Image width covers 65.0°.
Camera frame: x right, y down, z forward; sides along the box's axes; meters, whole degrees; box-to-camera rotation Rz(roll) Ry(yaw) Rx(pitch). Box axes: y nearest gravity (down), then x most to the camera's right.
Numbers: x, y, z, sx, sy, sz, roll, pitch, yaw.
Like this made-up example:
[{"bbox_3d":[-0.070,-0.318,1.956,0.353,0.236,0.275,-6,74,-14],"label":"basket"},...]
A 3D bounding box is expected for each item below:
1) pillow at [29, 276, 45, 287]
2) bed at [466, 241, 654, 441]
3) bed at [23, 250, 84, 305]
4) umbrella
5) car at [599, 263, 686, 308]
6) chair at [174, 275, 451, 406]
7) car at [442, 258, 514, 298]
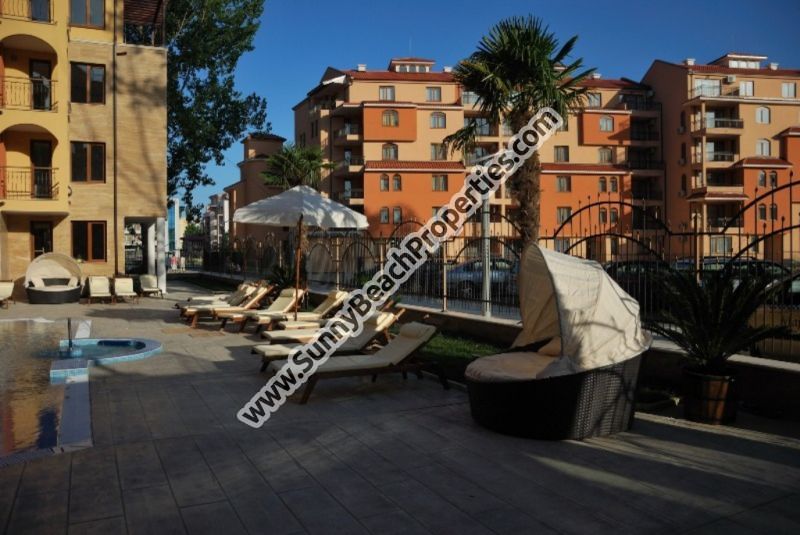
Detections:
[{"bbox_3d":[-14.030,0.563,24.354,0.125,0.390,0.420,-29,-11,34],"label":"pillow"},{"bbox_3d":[2.489,1.121,9.865,2.966,2.595,2.431,0,-1,-8],"label":"bed"},{"bbox_3d":[-13.445,0.404,24.518,2.072,2.022,2.020,2,-1,-32],"label":"bed"},{"bbox_3d":[-2.700,-0.298,17.003,3.358,3.077,3.384,5,-3,-28],"label":"umbrella"},{"bbox_3d":[4.775,0.233,12.416,2.574,0.878,1.252,0,1,-23],"label":"car"},{"bbox_3d":[-0.924,1.531,11.366,2.990,1.146,2.081,-4,11,-18],"label":"chair"},{"bbox_3d":[1.921,0.318,15.468,1.742,0.750,0.823,0,-1,24],"label":"car"}]
